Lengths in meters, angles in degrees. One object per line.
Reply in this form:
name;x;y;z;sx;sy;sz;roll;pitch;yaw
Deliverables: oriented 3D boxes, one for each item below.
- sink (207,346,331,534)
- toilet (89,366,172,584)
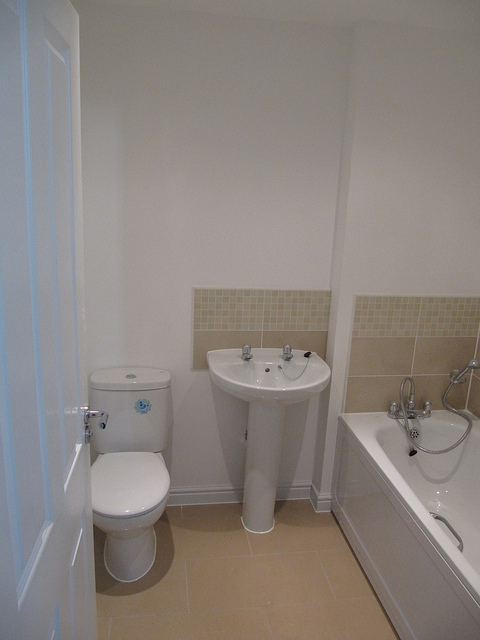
sink;0.132;0.606;2.355;0.520;1.085;0.453;-3;16;-10
toilet;-0.520;0.721;2.120;0.268;0.820;0.629;0;17;-11
